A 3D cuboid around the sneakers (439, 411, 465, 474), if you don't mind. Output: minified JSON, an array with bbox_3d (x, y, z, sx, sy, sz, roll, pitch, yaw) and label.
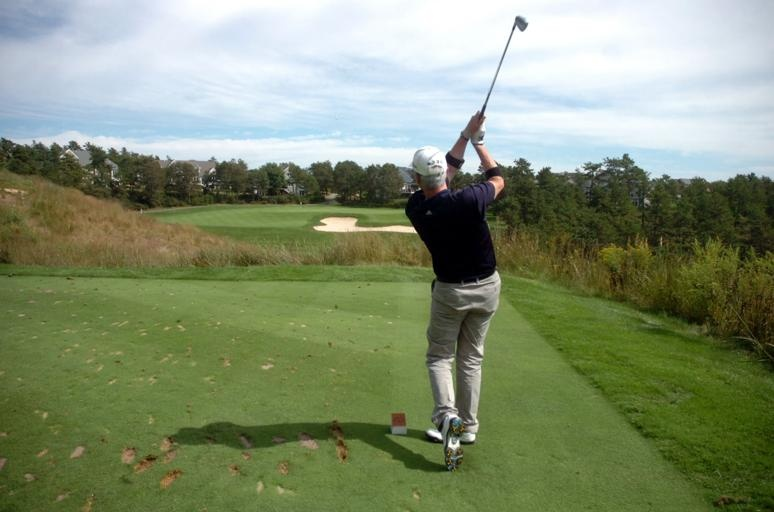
[{"bbox_3d":[0.609,1.722,4.414,0.183,0.496,0.246,1,-13,-1],"label":"sneakers"}]

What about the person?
[{"bbox_3d":[0.740,0.266,4.665,0.810,3.254,1.018,-4,13,-34],"label":"person"}]

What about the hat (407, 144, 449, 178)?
[{"bbox_3d":[0.462,-0.939,4.588,0.420,0.308,0.543,-2,27,-10],"label":"hat"}]

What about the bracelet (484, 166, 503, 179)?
[{"bbox_3d":[1.104,-0.817,4.787,0.147,0.111,0.145,-9,6,-1],"label":"bracelet"}]
